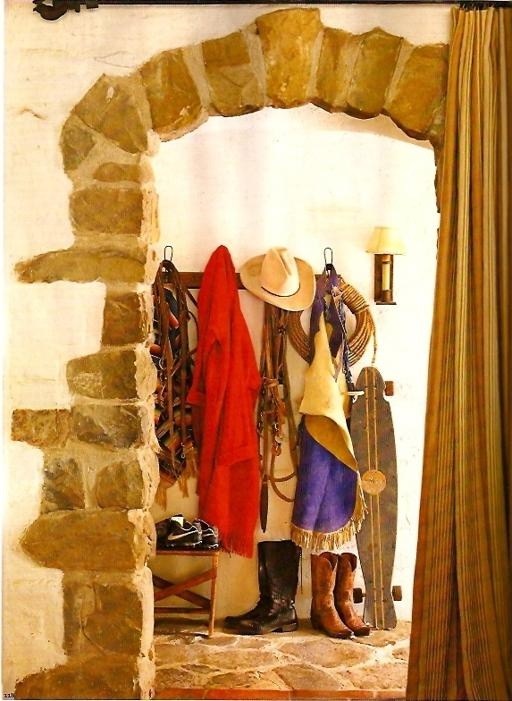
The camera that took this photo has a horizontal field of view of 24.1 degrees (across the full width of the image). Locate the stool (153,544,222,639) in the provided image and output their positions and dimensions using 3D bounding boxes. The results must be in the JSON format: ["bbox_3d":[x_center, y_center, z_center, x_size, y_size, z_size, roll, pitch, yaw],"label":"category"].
[{"bbox_3d":[-0.261,0.853,4.429,0.245,0.348,0.302,2,10,-2],"label":"stool"}]

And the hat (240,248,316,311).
[{"bbox_3d":[0.079,-0.269,4.547,0.292,0.248,0.201,2,10,-1],"label":"hat"}]

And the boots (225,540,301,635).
[{"bbox_3d":[-0.005,0.879,4.484,0.292,0.449,0.203,2,-10,-8],"label":"boots"}]

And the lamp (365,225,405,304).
[{"bbox_3d":[0.476,-0.326,4.555,0.111,0.304,0.127,2,9,18],"label":"lamp"}]

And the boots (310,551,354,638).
[{"bbox_3d":[0.268,0.897,4.437,0.092,0.280,0.279,-2,11,-19],"label":"boots"}]

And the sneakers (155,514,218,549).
[{"bbox_3d":[-0.248,0.627,4.313,0.151,0.080,0.122,-1,-11,32],"label":"sneakers"}]
